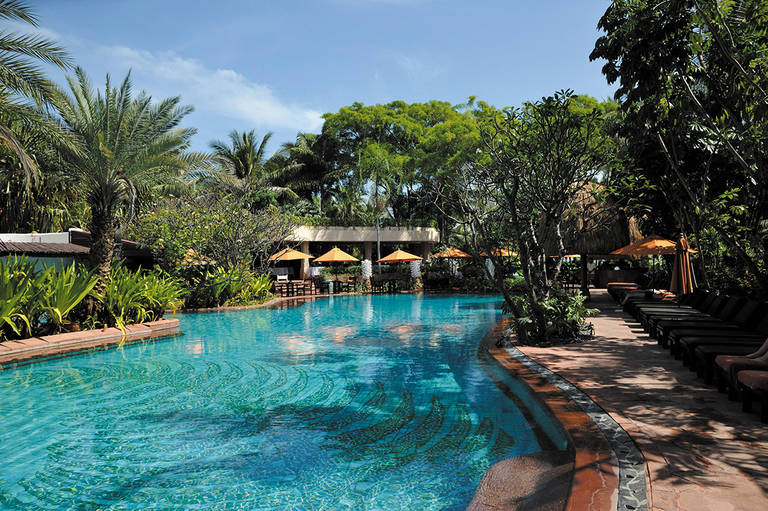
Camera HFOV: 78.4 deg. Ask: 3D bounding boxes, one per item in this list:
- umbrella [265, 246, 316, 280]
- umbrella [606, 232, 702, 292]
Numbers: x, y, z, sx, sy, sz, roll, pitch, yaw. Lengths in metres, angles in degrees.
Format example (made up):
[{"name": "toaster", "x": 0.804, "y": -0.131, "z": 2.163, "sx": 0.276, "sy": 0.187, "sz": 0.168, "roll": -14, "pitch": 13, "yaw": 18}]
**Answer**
[{"name": "umbrella", "x": -7.376, "y": 0.764, "z": 37.389, "sx": 3.192, "sy": 2.415, "sz": 3.353, "roll": 2, "pitch": 0, "yaw": 3}, {"name": "umbrella", "x": 9.889, "y": 0.126, "z": 15.889, "sx": 2.245, "sy": 1.610, "sz": 2.240, "roll": 0, "pitch": -7, "yaw": -6}]
